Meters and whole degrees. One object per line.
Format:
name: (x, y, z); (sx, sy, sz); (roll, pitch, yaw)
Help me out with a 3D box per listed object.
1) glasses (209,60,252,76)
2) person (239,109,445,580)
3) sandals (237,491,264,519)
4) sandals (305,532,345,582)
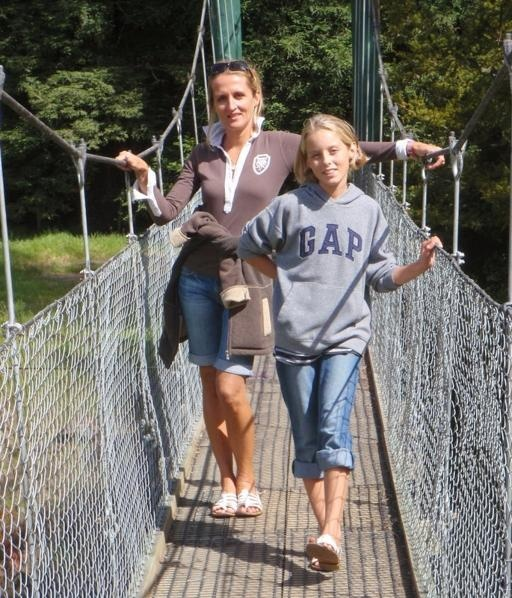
glasses: (-0.095, -0.810, 2.812); (0.165, 0.057, 0.111); (1, 10, 12)
person: (0.248, 0.148, 2.395); (0.417, 1.385, 0.532); (-7, 12, -21)
sandals: (-0.024, 0.755, 2.912); (0.103, 0.062, 0.248); (0, -3, -1)
sandals: (0.191, 0.736, 2.300); (0.086, 0.068, 0.166); (1, -30, 10)
